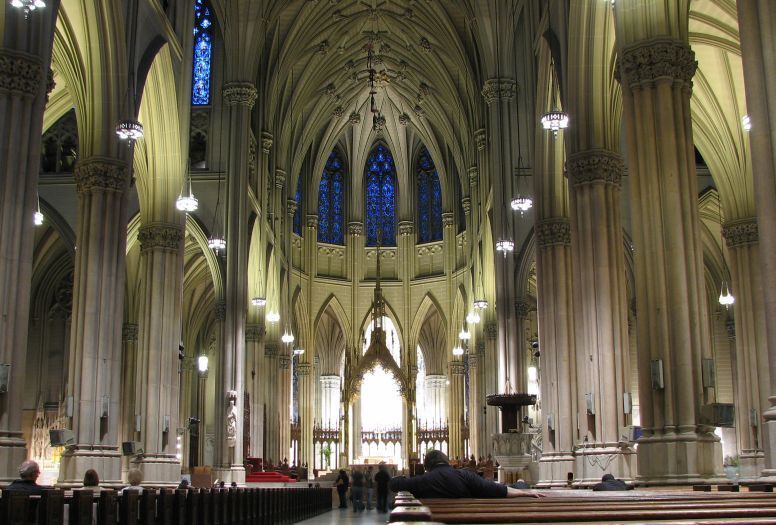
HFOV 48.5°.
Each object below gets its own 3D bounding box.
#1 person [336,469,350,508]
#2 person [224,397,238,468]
[{"bbox_3d":[-1.871,9.283,35.352,0.421,1.521,1.282,-2,-16,-4],"label":"person"},{"bbox_3d":[-5.700,6.073,31.351,0.442,2.614,0.704,0,-16,-12],"label":"person"}]
